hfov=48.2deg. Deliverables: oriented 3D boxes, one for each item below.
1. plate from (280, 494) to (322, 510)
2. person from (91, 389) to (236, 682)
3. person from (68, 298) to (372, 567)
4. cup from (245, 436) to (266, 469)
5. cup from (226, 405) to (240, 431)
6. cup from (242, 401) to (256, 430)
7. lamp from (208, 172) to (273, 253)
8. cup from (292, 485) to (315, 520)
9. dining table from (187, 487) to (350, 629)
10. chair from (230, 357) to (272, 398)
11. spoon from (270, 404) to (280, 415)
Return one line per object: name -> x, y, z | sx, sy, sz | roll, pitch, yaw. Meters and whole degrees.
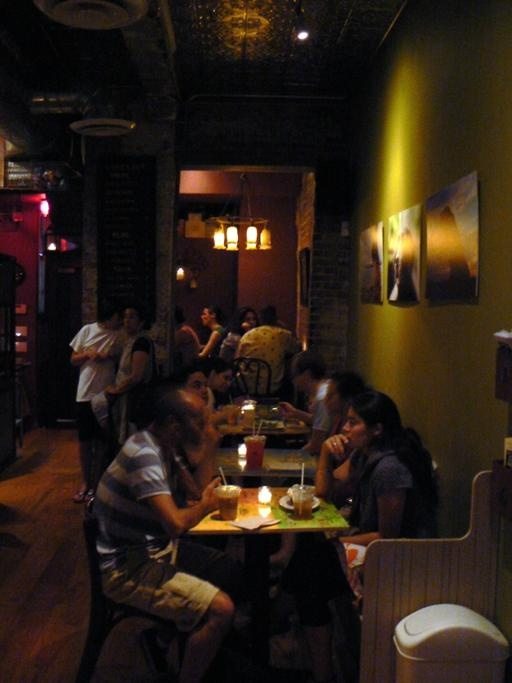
plate -> 0.158, 0.593, 2.104 | 0.094, 0.024, 0.099 | 0, 3, 26
person -> -0.265, 0.637, 2.003 | 0.484, 0.991, 0.572 | 1, 4, 13
person -> -0.202, 0.448, 3.150 | 1.001, 1.179, 1.670 | 0, 0, 5
cup -> -0.004, 0.505, 2.720 | 0.120, 0.184, 0.138 | 1, 3, 10
cup -> -0.139, 0.457, 3.471 | 0.093, 0.179, 0.094 | 1, -7, 0
cup -> -0.046, 0.454, 3.511 | 0.115, 0.176, 0.118 | 0, -6, 0
lamp -> -0.221, -1.742, 7.819 | 0.923, 1.273, 0.935 | 0, 4, 3
cup -> 0.154, 0.583, 2.076 | 0.079, 0.104, 0.099 | 0, 2, -8
dining table -> 0.091, 0.743, 2.220 | 0.452, 0.467, 0.477 | 0, 14, 0
chair -> -0.018, 0.294, 5.005 | 0.301, 0.477, 0.337 | 2, 10, 10
spoon -> 0.123, 0.458, 3.783 | 0.059, 0.053, 0.105 | 0, 4, 0
